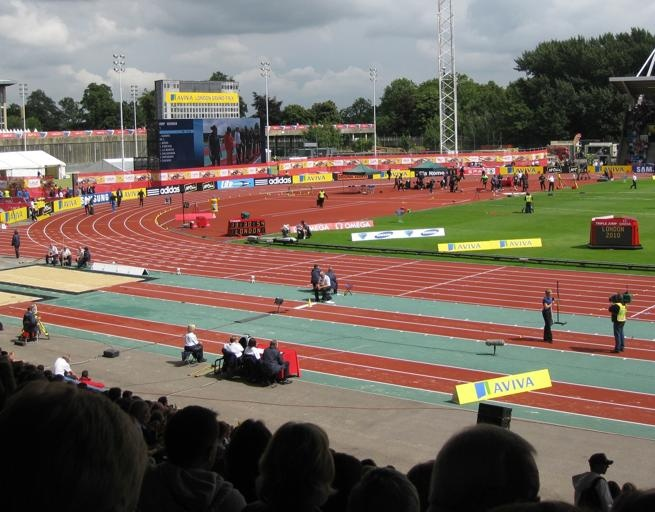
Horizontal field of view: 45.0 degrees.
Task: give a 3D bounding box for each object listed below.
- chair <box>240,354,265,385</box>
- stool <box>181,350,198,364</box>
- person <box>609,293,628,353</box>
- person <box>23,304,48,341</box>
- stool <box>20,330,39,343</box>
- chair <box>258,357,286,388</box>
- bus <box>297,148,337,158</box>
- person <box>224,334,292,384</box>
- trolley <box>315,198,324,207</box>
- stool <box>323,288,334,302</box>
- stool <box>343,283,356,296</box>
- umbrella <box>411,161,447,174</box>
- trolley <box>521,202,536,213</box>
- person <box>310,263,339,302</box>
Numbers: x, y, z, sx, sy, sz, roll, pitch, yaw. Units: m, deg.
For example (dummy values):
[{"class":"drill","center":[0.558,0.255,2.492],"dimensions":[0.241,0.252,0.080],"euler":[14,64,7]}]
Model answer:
[{"class":"chair","center":[-1.716,2.578,18.263],"dimensions":[0.507,0.645,0.697],"euler":[4,10,10]},{"class":"stool","center":[-3.456,2.504,19.787],"dimensions":[0.382,0.180,0.285],"euler":[-13,13,-16]},{"class":"person","center":[7.448,1.640,20.713],"dimensions":[0.382,1.468,1.914],"euler":[1,6,20]},{"class":"person","center":[-8.070,1.804,21.994],"dimensions":[0.540,0.859,0.664],"euler":[9,8,39]},{"class":"stool","center":[-8.123,2.185,21.853],"dimensions":[0.380,0.482,0.402],"euler":[1,6,12]},{"class":"chair","center":[-1.296,2.573,18.191],"dimensions":[0.655,0.676,0.570],"euler":[-10,19,-30]},{"class":"bus","center":[-1.534,-13.998,106.134],"dimensions":[4.705,1.654,16.983],"euler":[-1,6,-1]},{"class":"person","center":[-1.707,2.389,18.245],"dimensions":[1.348,0.488,1.042],"euler":[7,16,26]},{"class":"trolley","center":[-0.589,-4.095,59.822],"dimensions":[0.637,0.592,1.135],"euler":[1,0,14]},{"class":"stool","center":[-0.019,1.329,27.543],"dimensions":[0.488,0.436,0.368],"euler":[0,-2,-16]},{"class":"stool","center":[0.726,1.196,28.769],"dimensions":[0.324,0.459,0.398],"euler":[0,1,-1]},{"class":"umbrella","center":[8.968,-8.006,70.989],"dimensions":[2.011,0.783,1.940],"euler":[-2,3,-30]},{"class":"trolley","center":[13.177,-3.287,52.924],"dimensions":[0.728,1.030,0.636],"euler":[15,32,27]},{"class":"person","center":[-0.151,0.964,28.797],"dimensions":[0.631,0.847,1.435],"euler":[-16,5,3]}]
